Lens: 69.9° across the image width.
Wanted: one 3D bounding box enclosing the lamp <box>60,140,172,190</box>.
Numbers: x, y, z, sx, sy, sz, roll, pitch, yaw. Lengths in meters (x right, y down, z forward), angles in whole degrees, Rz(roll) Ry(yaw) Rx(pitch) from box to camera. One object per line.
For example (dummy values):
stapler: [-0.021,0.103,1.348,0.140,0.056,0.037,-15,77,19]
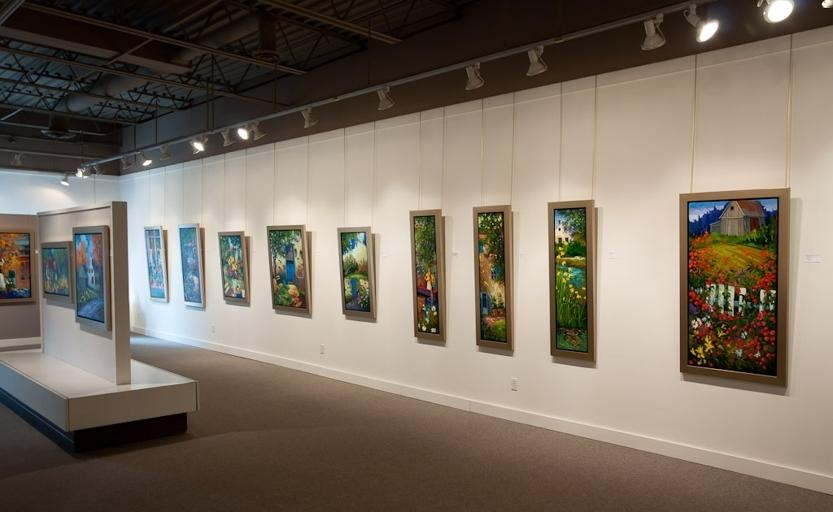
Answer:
lamp: [-8.932,-2.794,17.715,3.819,0.435,0.418,-8,15,18]
